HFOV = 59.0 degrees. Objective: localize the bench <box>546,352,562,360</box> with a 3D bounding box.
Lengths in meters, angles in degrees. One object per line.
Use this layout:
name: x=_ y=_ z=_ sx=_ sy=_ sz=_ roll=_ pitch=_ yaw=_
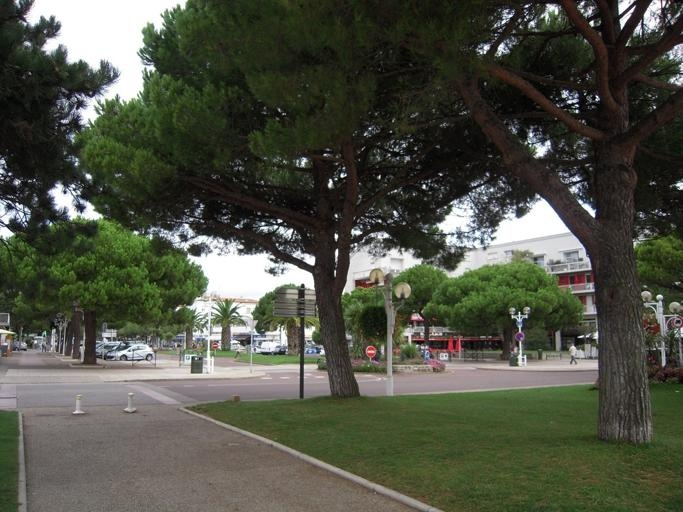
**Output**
bench: x=20.882 y=9.944 z=60.004 sx=1.507 sy=0.810 sz=7.295 roll=-6 pitch=-12 yaw=18
